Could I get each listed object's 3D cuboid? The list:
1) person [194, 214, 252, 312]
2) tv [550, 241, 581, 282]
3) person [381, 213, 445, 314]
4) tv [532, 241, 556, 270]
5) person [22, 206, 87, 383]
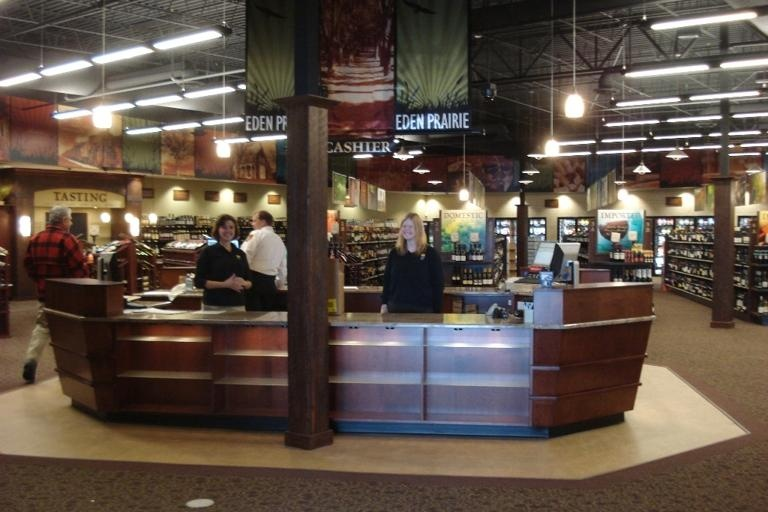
[{"bbox_3d":[-2.268,0.111,8.868,0.734,1.376,0.607,-1,14,-7],"label":"person"},{"bbox_3d":[2.640,0.078,9.262,0.640,0.598,0.220,-6,24,-45],"label":"tv"},{"bbox_3d":[0.407,0.124,8.453,0.733,1.282,0.310,3,15,10],"label":"person"},{"bbox_3d":[2.481,-0.014,9.733,0.104,0.363,0.395,23,-2,-23],"label":"tv"},{"bbox_3d":[-5.169,0.572,9.822,1.062,2.524,1.190,-6,16,-24],"label":"person"}]
